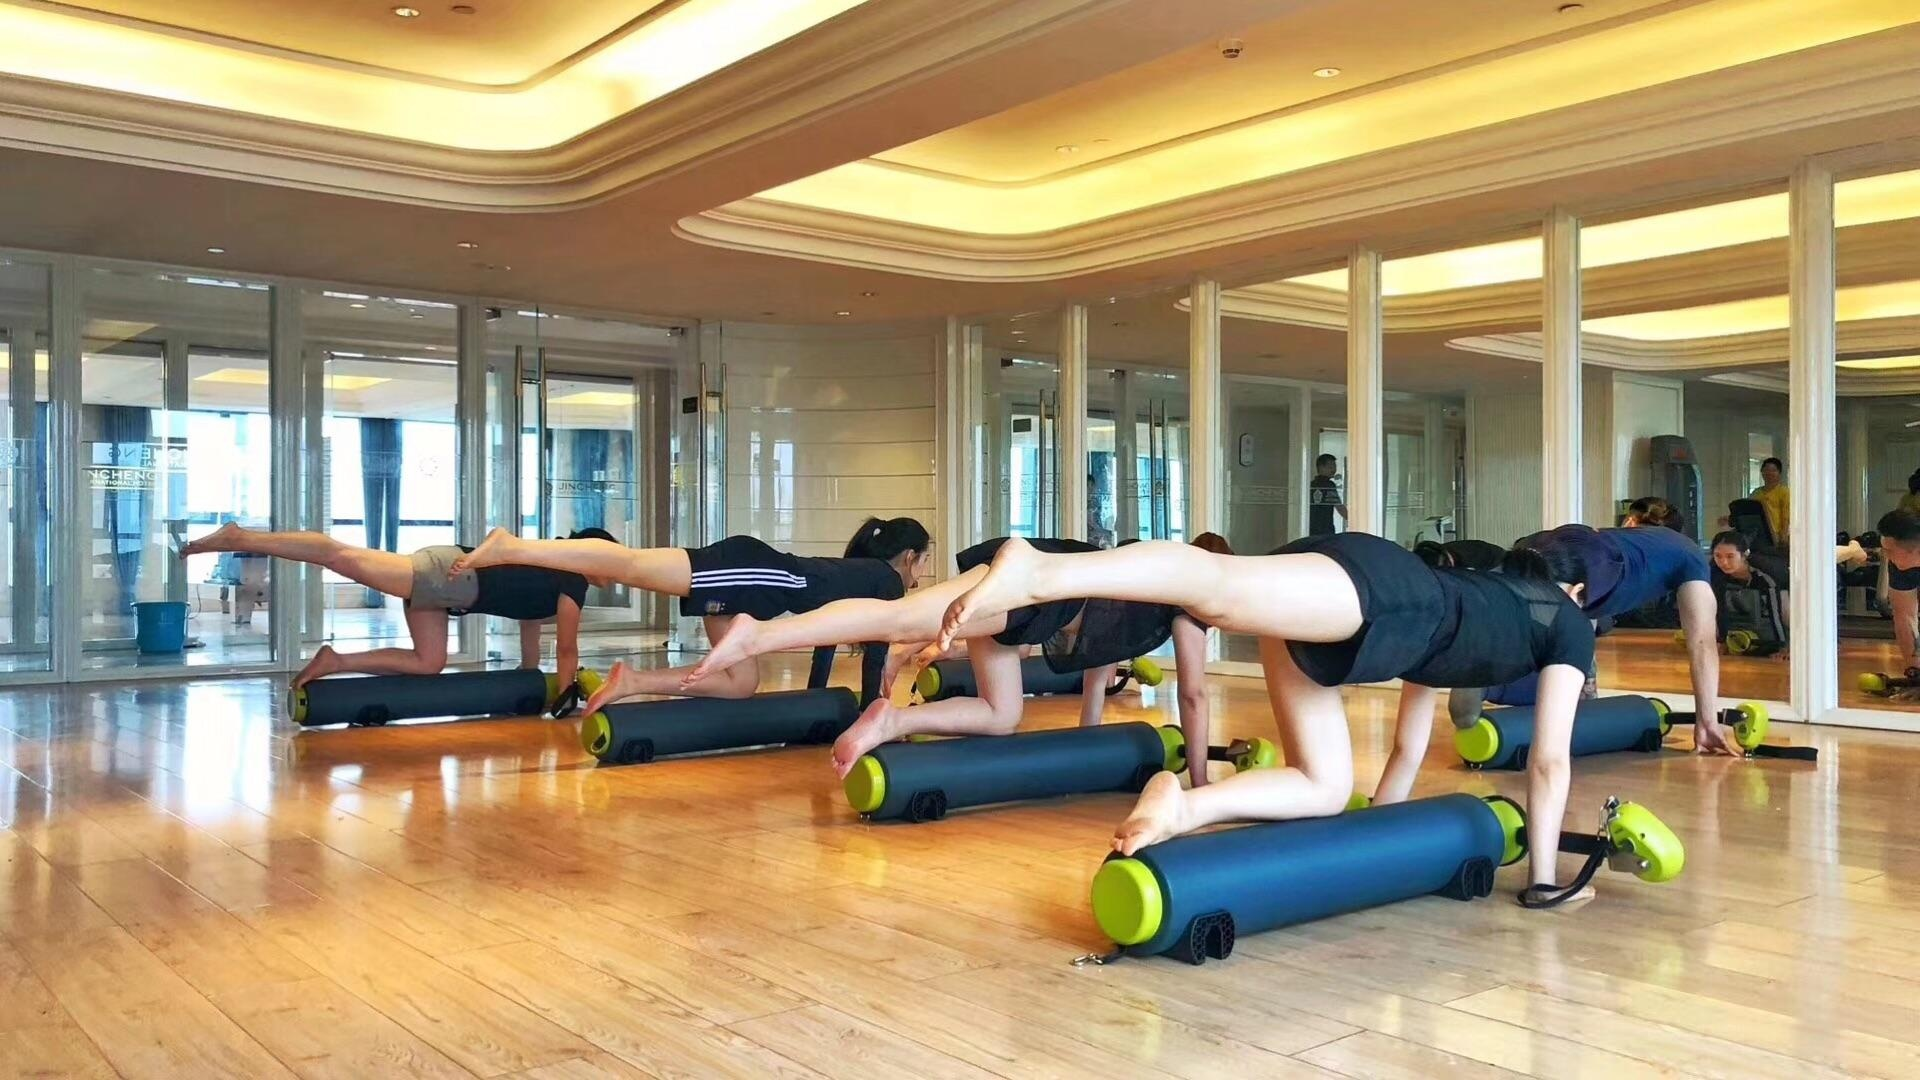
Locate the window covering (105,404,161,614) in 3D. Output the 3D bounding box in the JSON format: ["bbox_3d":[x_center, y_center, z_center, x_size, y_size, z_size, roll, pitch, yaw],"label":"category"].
[{"bbox_3d":[-6.732,-0.239,10.426,0.326,1.666,0.392,-2,14,-9],"label":"window covering"}]

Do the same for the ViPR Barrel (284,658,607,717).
[{"bbox_3d":[-3.416,0.996,8.491,1.968,0.310,0.336,-2,28,-27],"label":"ViPR Barrel"}]

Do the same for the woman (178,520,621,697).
[{"bbox_3d":[-3.406,0.461,8.565,3.562,0.959,0.690,2,-12,9],"label":"woman"}]

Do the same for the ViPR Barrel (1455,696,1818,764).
[{"bbox_3d":[3.632,1.106,7.332,0.960,0.168,0.848,-2,0,-24],"label":"ViPR Barrel"}]

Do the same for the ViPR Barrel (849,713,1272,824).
[{"bbox_3d":[0.663,1.141,6.611,2.664,0.336,0.663,0,7,-31],"label":"ViPR Barrel"}]

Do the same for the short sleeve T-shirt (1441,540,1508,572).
[{"bbox_3d":[2.420,0.075,6.175,0.346,0.094,0.243,2,-1,-31],"label":"short sleeve T-shirt"}]

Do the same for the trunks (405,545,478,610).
[{"bbox_3d":[-3.193,0.242,7.904,0.558,0.329,0.527,1,9,-9],"label":"trunks"}]

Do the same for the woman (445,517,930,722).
[{"bbox_3d":[-1.401,0.425,7.260,0.791,0.933,3.245,-7,-6,35],"label":"woman"}]

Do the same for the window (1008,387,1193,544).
[{"bbox_3d":[1.169,-0.723,11.975,1.829,1.468,1.573,-2,-4,31],"label":"window"}]

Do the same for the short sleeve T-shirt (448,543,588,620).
[{"bbox_3d":[-2.843,0.320,8.352,0.842,0.210,0.530,11,11,-41],"label":"short sleeve T-shirt"}]

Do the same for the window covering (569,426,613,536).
[{"bbox_3d":[-3.512,-0.446,12.133,0.339,1.100,0.405,2,4,43],"label":"window covering"}]

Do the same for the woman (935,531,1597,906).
[{"bbox_3d":[1.398,0.654,5.077,3.206,1.020,0.914,9,-13,-27],"label":"woman"}]

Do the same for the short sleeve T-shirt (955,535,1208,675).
[{"bbox_3d":[0.682,0.421,6.550,1.227,0.548,0.421,6,-43,-34],"label":"short sleeve T-shirt"}]

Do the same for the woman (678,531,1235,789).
[{"bbox_3d":[0.289,0.538,6.227,3.004,0.734,1.185,-1,5,-25],"label":"woman"}]

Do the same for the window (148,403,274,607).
[{"bbox_3d":[-6.226,-0.484,10.689,0.815,1.494,0.167,4,-42,-28],"label":"window"}]
